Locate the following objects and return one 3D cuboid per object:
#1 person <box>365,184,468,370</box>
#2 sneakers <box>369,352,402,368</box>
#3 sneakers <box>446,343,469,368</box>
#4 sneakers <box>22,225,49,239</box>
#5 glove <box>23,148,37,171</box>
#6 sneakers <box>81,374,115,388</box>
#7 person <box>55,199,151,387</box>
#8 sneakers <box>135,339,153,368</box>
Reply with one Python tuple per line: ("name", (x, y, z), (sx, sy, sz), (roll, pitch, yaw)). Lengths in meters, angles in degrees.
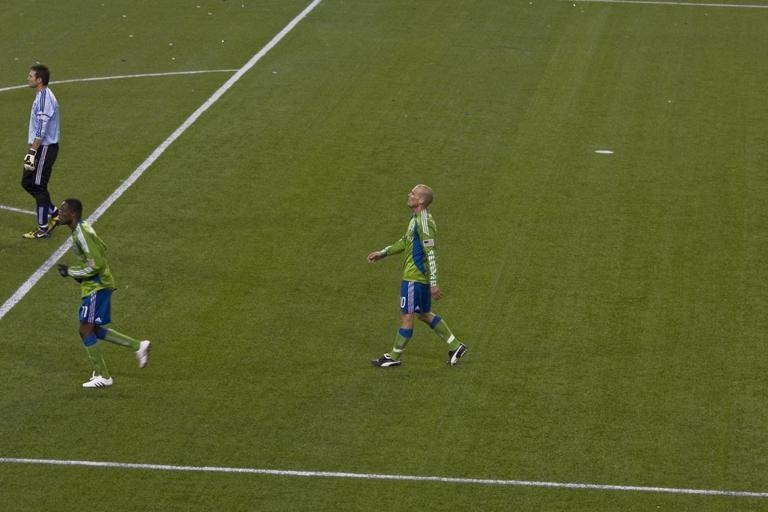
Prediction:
("person", (0.491, 0.286, 19.789), (1.419, 2.637, 1.075), (2, 24, -2))
("sneakers", (0.016, 1.522, 19.960), (0.484, 0.183, 0.172), (1, 4, -2))
("sneakers", (1.039, 1.429, 19.989), (0.219, 0.429, 0.161), (25, 30, -16))
("sneakers", (-5.568, -0.403, 21.897), (0.526, 0.202, 0.159), (1, 13, -10))
("glove", (-5.660, -1.556, 21.734), (0.156, 0.281, 0.246), (7, -17, -2))
("sneakers", (-4.073, 1.781, 19.524), (0.495, 0.177, 0.155), (1, 2, -5))
("person", (-4.092, 0.513, 19.313), (0.946, 2.595, 1.136), (-20, 33, -40))
("sneakers", (-3.484, 1.373, 19.668), (0.235, 0.411, 0.156), (-4, 19, -8))
